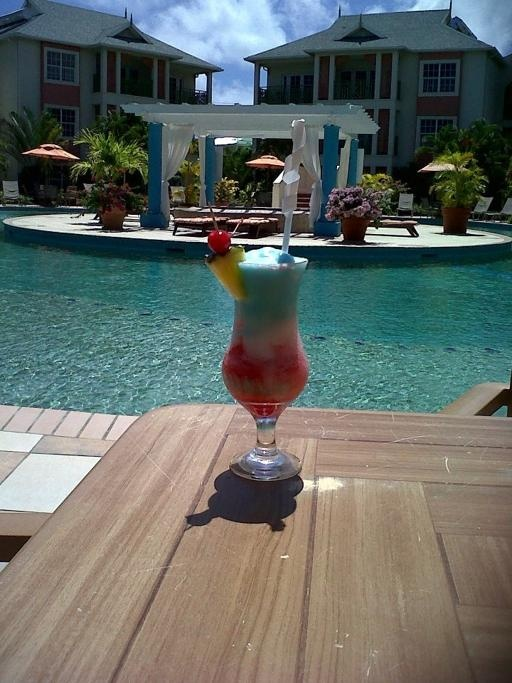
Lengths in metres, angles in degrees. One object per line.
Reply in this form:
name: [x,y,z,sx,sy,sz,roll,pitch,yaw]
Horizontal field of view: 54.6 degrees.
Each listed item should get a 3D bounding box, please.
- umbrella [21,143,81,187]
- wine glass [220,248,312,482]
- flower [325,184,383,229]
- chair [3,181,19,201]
umbrella: [-10.314,-9.393,25.280,2.842,1.042,2.713,-1,15,-15]
wine glass: [0.014,0.029,0.913,0.202,0.381,0.169,-6,11,-11]
flower: [2.559,-3.615,12.891,1.381,0.926,0.601,2,5,7]
chair: [-12.736,-7.835,25.787,0.798,0.959,0.562,-2,7,-36]
